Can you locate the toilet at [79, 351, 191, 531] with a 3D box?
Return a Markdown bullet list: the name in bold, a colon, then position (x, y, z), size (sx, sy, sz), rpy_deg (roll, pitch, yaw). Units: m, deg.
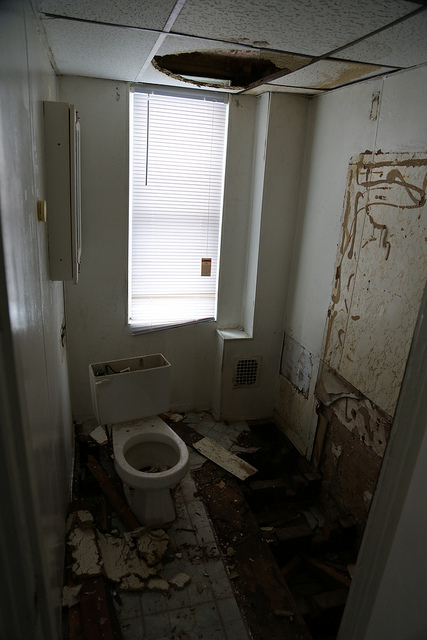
- **toilet**: position (-0.393, 0.726, 2.542), size (0.403, 0.840, 0.686), rpy_deg (-7, 18, -27)
